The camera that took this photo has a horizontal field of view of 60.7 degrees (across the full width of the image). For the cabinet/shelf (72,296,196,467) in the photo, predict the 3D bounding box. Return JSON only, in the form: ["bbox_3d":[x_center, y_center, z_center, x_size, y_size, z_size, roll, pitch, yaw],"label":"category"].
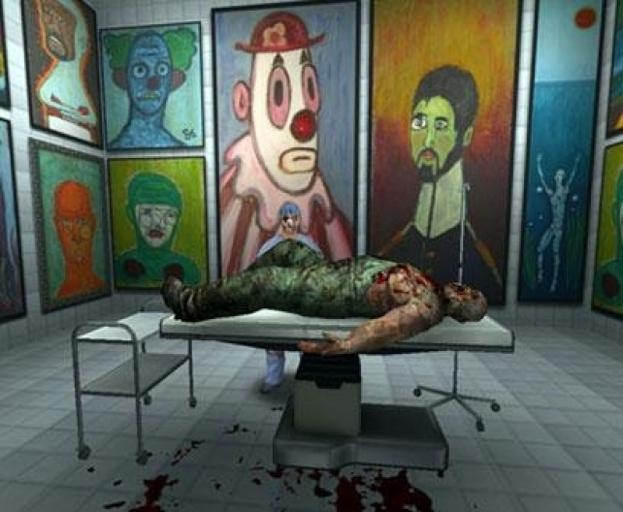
[{"bbox_3d":[-1.708,1.144,5.172,0.574,1.176,1.396,1,3,2],"label":"cabinet/shelf"}]
